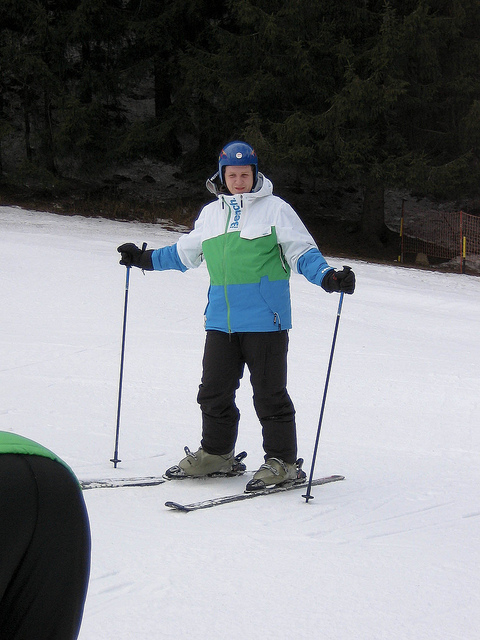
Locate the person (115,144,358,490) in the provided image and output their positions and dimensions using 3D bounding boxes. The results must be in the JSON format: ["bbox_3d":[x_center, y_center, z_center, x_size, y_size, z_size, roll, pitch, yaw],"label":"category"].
[{"bbox_3d":[0.023,-0.019,3.564,0.996,1.425,0.425,6,6,21],"label":"person"}]
